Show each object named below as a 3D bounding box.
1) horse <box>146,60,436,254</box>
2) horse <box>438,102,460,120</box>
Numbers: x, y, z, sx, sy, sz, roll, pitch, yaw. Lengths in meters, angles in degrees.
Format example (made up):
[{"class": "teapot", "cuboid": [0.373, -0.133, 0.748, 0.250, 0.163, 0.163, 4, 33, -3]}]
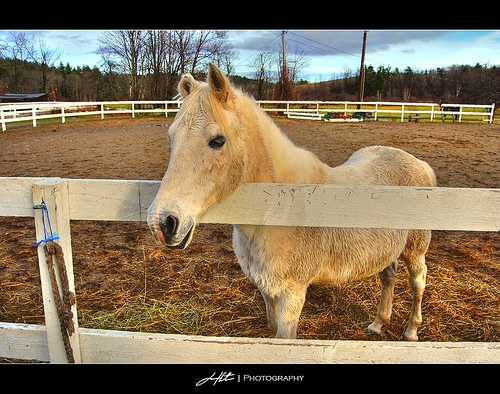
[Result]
[{"class": "horse", "cuboid": [0.634, 0.204, 4.781, 3.704, 2.000, 0.910, 3, 0, -41]}, {"class": "horse", "cuboid": [10.989, -4.797, 27.040, 1.468, 0.776, 1.040, -3, 19, -9]}]
